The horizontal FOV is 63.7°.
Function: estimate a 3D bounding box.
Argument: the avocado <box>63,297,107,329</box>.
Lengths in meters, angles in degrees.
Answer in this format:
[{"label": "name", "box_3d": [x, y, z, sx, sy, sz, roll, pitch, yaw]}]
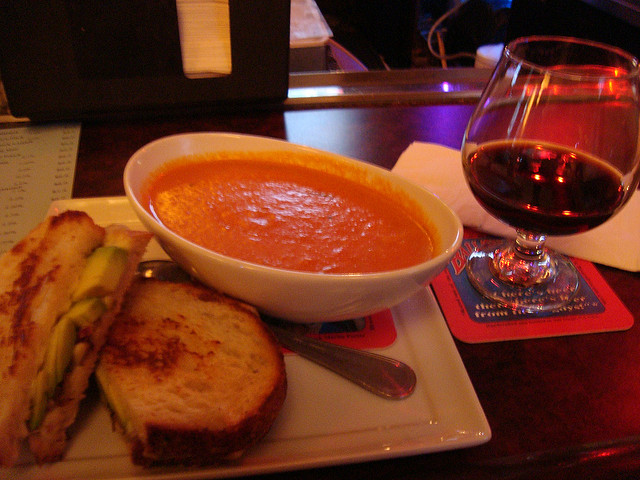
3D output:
[{"label": "avocado", "box_3d": [-0.346, 0.104, 0.758, 0.034, 0.016, 0.047, 31, 53, 22]}]

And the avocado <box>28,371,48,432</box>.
[{"label": "avocado", "box_3d": [-0.387, 0.220, 0.710, 0.021, 0.019, 0.075, 1, 81, 9]}]

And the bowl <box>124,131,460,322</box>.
[{"label": "bowl", "box_3d": [-0.064, -0.045, 0.965, 0.513, 0.197, 0.395, 10, 31, -1]}]
